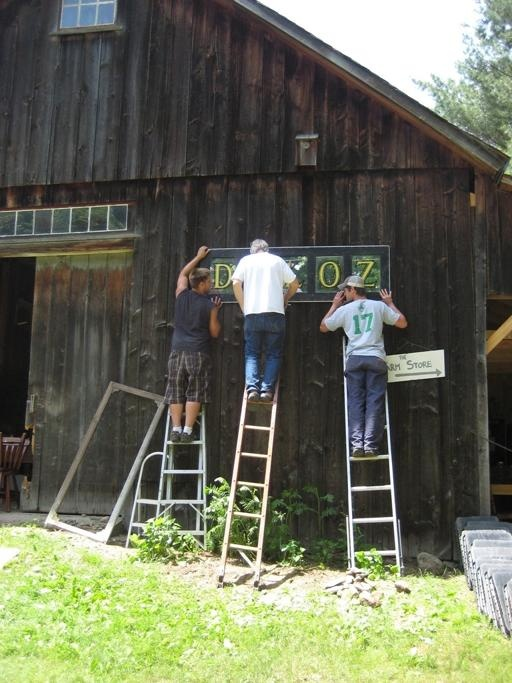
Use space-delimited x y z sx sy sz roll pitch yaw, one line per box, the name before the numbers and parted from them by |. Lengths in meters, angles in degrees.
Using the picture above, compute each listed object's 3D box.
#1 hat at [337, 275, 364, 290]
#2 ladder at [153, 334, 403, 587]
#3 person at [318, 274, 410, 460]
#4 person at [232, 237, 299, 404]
hat | 0.814 -0.506 6.557 0.152 0.110 0.118 6 6 25
ladder | 0.460 0.906 6.132 1.372 1.861 1.408 1 1 5
person | 0.878 0.200 6.417 0.679 1.789 0.393 -3 -29 11
person | 0.066 -0.181 6.570 0.507 1.616 0.413 2 -25 -1
